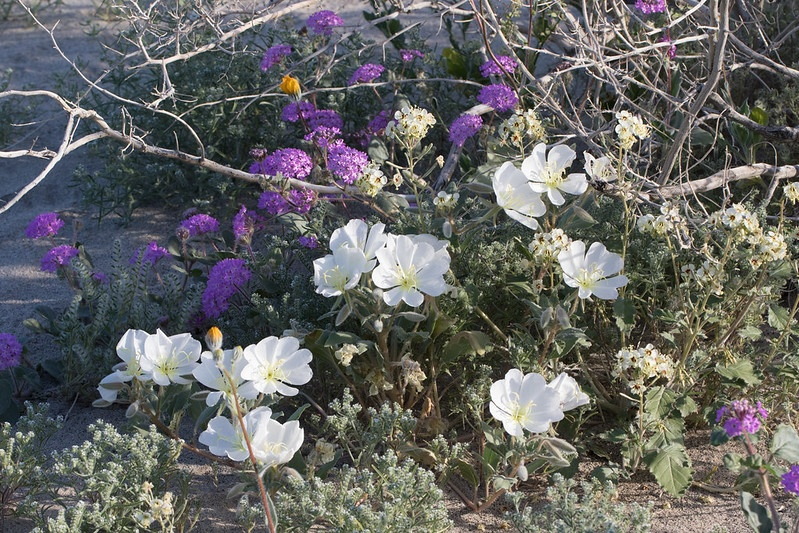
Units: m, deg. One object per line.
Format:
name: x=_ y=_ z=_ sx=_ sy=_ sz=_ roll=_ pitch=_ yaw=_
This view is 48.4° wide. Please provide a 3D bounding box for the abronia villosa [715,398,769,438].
abronia villosa: x=1.682 y=0.738 z=4.390 sx=0.207 sy=0.222 sz=0.180 roll=-2 pitch=13 yaw=-1
